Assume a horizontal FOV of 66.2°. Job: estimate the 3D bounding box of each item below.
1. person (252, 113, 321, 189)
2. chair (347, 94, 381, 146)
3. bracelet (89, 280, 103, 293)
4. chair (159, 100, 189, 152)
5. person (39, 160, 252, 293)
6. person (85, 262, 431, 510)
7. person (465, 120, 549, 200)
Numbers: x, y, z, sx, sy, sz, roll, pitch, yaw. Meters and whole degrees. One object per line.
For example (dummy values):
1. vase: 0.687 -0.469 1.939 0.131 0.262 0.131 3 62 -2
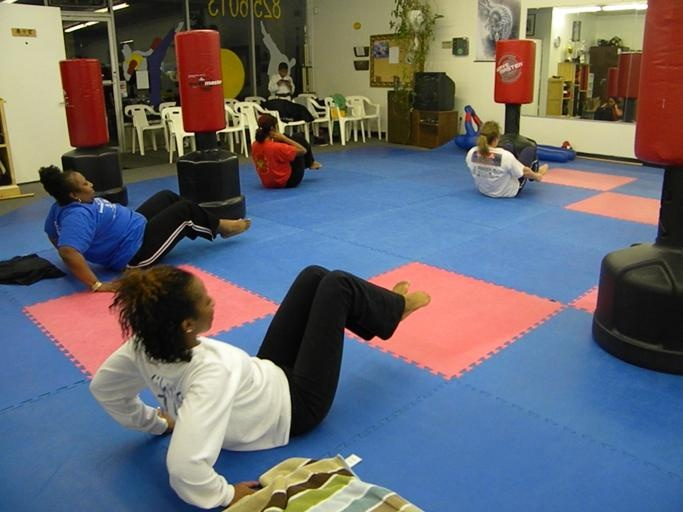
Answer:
1. person: -0.779 -1.525 7.136 0.747 1.040 0.970 8 39 18
2. chair: 0.552 -3.113 11.629 0.594 0.756 0.570 -18 26 -28
3. bracelet: -1.769 0.217 3.807 0.070 0.055 0.071 1 15 33
4. chair: -2.643 -2.102 8.747 0.497 0.727 0.523 -16 25 -34
5. person: -1.519 -0.181 4.372 1.543 0.821 0.910 -10 32 -36
6. person: -0.422 0.422 2.348 0.715 0.992 1.115 13 24 38
7. person: 2.001 -1.157 6.302 0.748 0.725 1.181 15 25 34
